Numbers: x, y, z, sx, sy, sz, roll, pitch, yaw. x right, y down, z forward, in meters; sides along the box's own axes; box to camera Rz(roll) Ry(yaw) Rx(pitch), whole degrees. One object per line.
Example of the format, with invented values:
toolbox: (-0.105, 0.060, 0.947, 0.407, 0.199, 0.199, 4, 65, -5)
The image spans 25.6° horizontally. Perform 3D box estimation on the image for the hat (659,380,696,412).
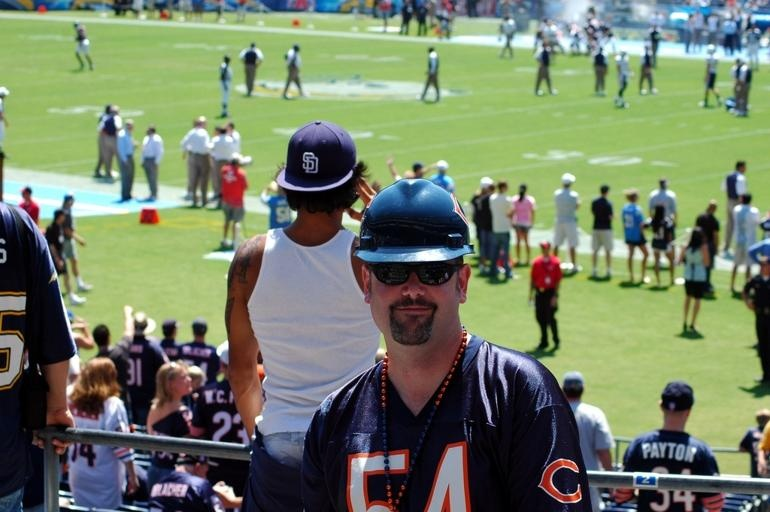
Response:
hat: (3.910, 1.851, 22.395, 0.339, 0.224, 0.446, 7, 27, 22)
